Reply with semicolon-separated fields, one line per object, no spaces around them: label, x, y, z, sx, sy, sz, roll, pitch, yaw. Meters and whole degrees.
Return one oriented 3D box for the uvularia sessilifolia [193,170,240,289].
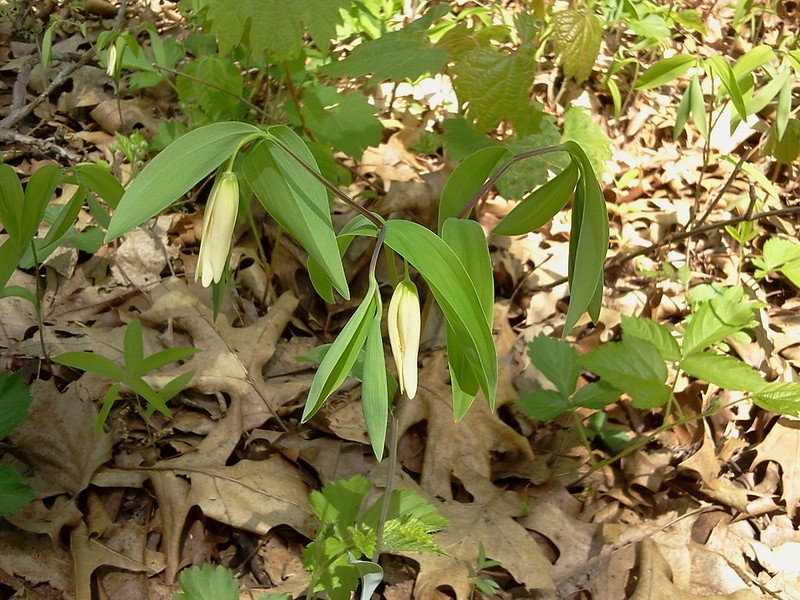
uvularia sessilifolia;-0.589;-0.216;2.552;0.122;0.430;0.153;9;-6;-30
